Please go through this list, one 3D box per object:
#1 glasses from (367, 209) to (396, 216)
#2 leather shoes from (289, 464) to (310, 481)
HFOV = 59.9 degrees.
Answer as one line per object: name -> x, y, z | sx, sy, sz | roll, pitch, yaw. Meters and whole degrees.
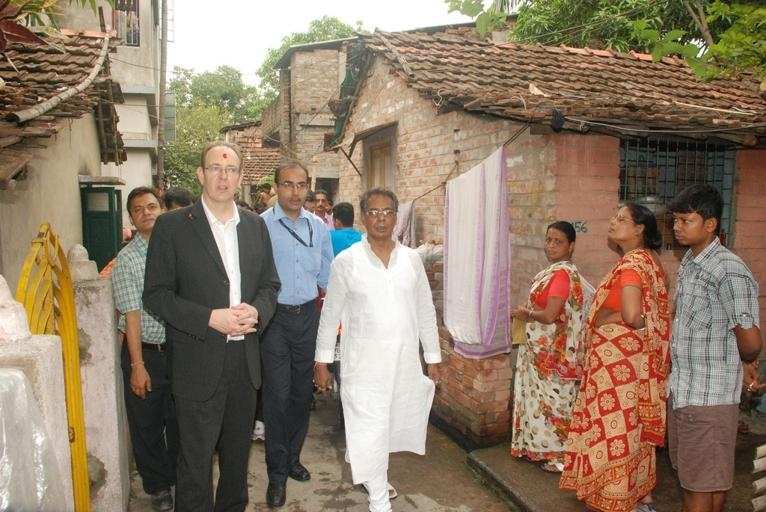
glasses -> -0.018, -0.385, 5.740 | 0.239, 0.072, 0.066 | 0, 5, -7
leather shoes -> -0.804, 2.065, 6.376 | 0.102, 0.089, 0.221 | 2, -2, -41
